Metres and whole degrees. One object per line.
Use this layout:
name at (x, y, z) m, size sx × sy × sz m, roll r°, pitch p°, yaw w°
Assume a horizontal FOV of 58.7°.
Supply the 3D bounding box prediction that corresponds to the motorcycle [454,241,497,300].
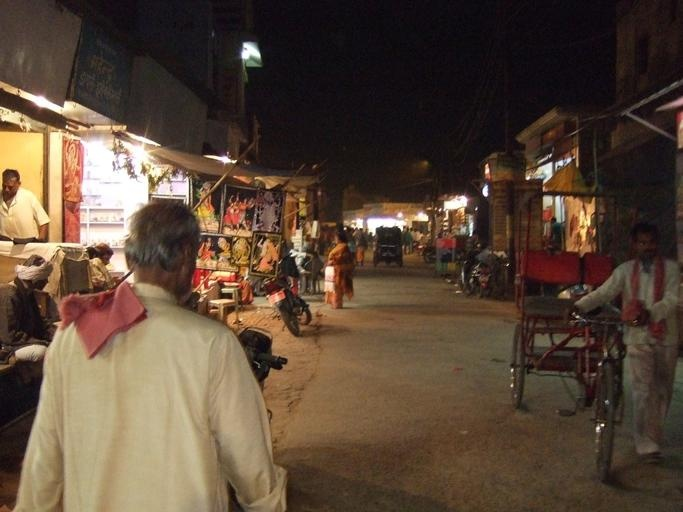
motorcycle at (4.132, 0.439, 18.532) m, size 0.971 × 1.091 × 1.626 m, roll 16°, pitch 8°, yaw 4°

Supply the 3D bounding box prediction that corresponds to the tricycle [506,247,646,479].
tricycle at (2.829, 0.856, 6.811) m, size 1.016 × 1.641 × 2.533 m, roll 2°, pitch -3°, yaw 6°

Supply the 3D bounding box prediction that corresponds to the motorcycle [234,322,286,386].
motorcycle at (-0.573, 0.717, 4.503) m, size 0.327 × 0.217 × 0.532 m, roll -34°, pitch 36°, yaw -13°

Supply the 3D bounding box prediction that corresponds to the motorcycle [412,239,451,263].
motorcycle at (6.348, -0.240, 39.265) m, size 2.695 × 1.934 × 1.630 m, roll -1°, pitch 5°, yaw -22°

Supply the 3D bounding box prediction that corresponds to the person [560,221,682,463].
person at (2.887, 0.796, 5.986) m, size 0.765 × 2.242 × 0.565 m, roll 3°, pitch 5°, yaw 28°

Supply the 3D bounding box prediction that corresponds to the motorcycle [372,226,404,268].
motorcycle at (2.659, -0.705, 34.177) m, size 1.250 × 1.943 × 2.431 m, roll 1°, pitch 10°, yaw 2°
